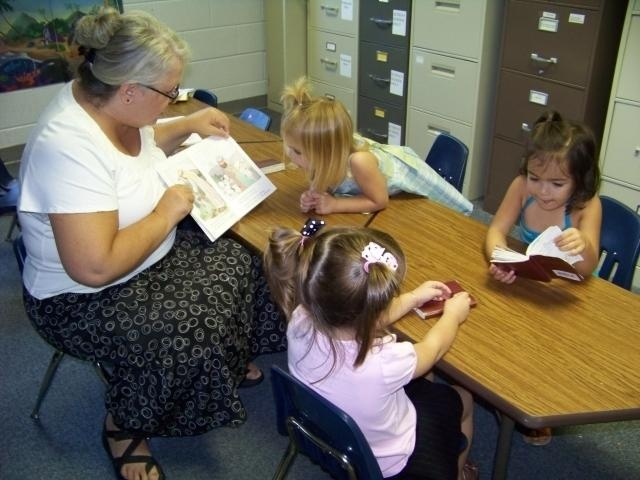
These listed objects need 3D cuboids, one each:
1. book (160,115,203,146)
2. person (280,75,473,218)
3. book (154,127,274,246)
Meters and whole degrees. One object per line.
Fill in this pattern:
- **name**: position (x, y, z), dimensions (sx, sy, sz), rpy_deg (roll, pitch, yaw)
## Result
- **book**: position (-0.645, -0.515, 2.177), dimensions (0.179, 0.061, 0.190), rpy_deg (12, 25, 20)
- **person**: position (0.299, -0.427, 2.139), dimensions (0.940, 0.607, 0.438), rpy_deg (-6, 35, -19)
- **book**: position (-0.426, -0.241, 1.908), dimensions (0.423, 0.105, 0.438), rpy_deg (49, 49, 3)
